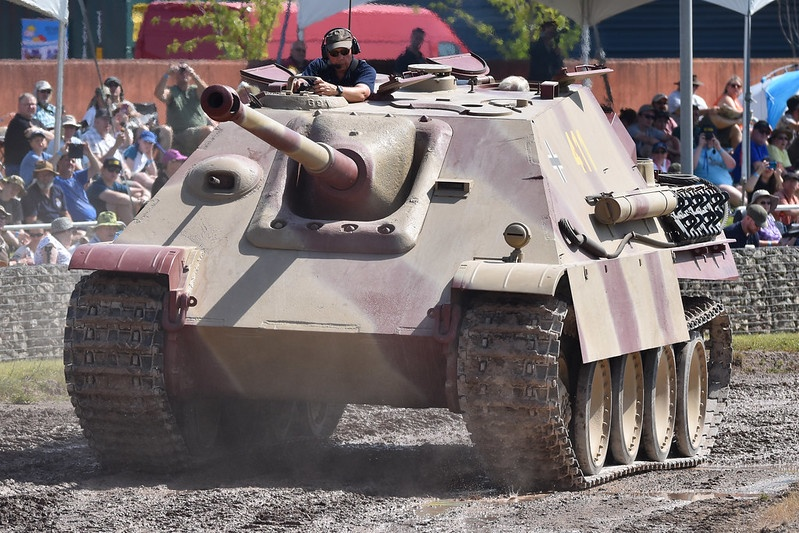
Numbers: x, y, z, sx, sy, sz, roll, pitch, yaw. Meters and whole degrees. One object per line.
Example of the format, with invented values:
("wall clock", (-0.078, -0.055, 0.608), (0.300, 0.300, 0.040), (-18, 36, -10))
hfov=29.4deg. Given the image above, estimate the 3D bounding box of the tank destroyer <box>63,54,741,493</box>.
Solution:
("tank destroyer", (0.504, 0.046, 18.501), (4.458, 4.081, 6.590), (0, 2, 27))
